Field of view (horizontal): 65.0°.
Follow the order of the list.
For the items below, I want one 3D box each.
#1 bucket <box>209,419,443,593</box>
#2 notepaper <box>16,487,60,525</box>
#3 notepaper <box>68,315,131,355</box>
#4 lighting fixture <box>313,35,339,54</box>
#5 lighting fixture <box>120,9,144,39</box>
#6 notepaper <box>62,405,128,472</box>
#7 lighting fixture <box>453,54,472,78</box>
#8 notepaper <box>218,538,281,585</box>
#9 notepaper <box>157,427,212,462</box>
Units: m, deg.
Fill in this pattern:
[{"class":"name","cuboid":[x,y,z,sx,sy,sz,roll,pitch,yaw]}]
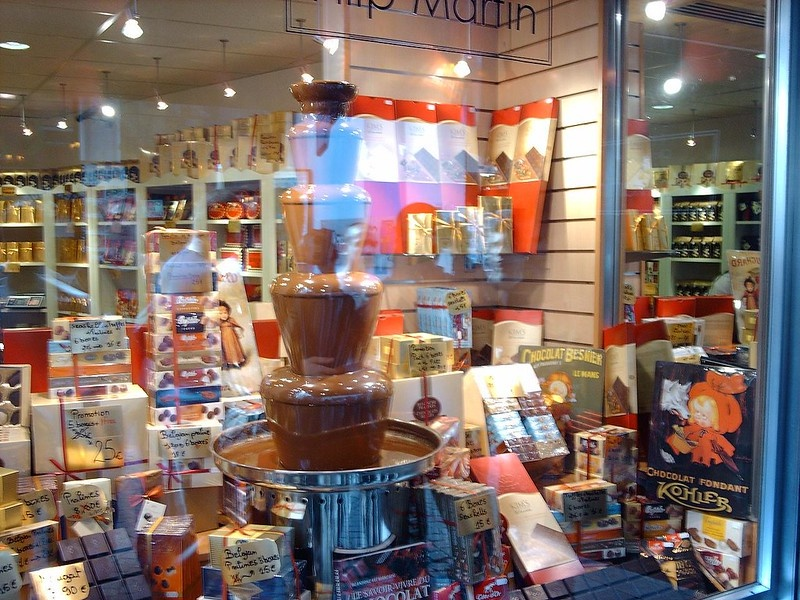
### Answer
[{"class":"bucket","cuboid":[-0.230,0.549,1.793,0.520,0.356,0.528,0,-1,0]},{"class":"notepaper","cuboid":[-0.995,0.570,1.729,0.023,0.078,0.087,-9,-11,42]},{"class":"notepaper","cuboid":[-0.905,0.107,1.895,0.157,0.100,0.084,-4,1,-21]},{"class":"lighting fixture","cuboid":[-0.234,-0.830,2.042,0.060,0.056,0.014,-8,17,-26]},{"class":"lighting fixture","cuboid":[-0.774,-0.804,1.839,0.062,0.062,0.063,7,13,44]},{"class":"notepaper","cuboid":[-0.906,0.401,1.855,0.180,0.195,0.021,-5,-3,-2]},{"class":"lighting fixture","cuboid":[0.219,-0.842,2.281,0.069,0.101,0.067,2,-5,-8]},{"class":"notepaper","cuboid":[-0.394,0.663,1.594,0.130,0.087,0.006,-2,-3,-15]},{"class":"notepaper","cuboid":[-0.664,0.437,1.932,0.188,0.121,0.097,-2,-3,-18]}]
